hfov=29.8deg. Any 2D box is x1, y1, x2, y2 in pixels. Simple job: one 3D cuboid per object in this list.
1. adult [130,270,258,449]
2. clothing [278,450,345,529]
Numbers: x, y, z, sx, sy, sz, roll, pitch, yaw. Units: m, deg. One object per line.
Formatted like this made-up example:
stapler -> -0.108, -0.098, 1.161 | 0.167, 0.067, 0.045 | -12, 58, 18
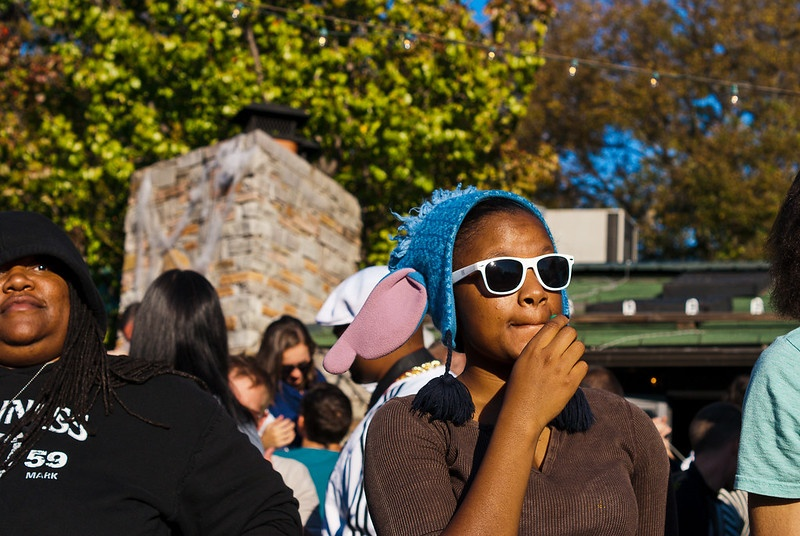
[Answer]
adult -> -2.353, 1.075, 16.289 | 1.249, 1.855, 1.582 | 1, -26, -5
clothing -> -0.964, 2.477, 16.463 | 0.848, 0.722, 0.451 | -10, -26, -10
